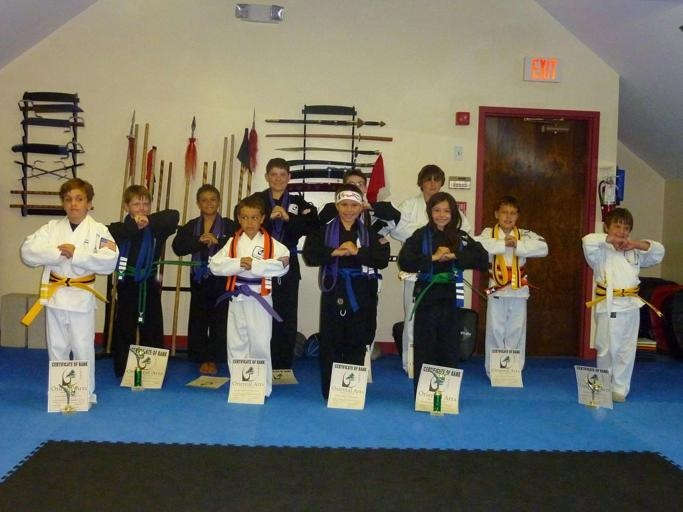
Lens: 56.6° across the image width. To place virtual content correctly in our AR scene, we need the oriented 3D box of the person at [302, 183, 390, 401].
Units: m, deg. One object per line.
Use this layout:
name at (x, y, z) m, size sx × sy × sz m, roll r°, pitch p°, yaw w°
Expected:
person at (0.035, 0.319, 5.430) m, size 0.734 × 1.807 × 0.526 m, roll 0°, pitch 14°, yaw -4°

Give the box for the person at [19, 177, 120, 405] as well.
person at (-2.252, 0.317, 5.259) m, size 0.734 × 1.833 × 0.538 m, roll 2°, pitch 14°, yaw 2°

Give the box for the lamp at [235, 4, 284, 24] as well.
lamp at (-0.905, -2.694, 7.056) m, size 0.532 × 0.202 × 0.081 m, roll 0°, pitch 14°, yaw -5°

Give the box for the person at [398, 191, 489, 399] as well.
person at (0.853, 0.281, 5.413) m, size 0.610 × 1.598 × 0.552 m, roll -9°, pitch 17°, yaw -36°

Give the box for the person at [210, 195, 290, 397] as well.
person at (-0.808, 0.368, 5.515) m, size 0.657 × 1.681 × 0.516 m, roll 2°, pitch 14°, yaw 2°

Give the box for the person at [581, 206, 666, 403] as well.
person at (2.498, 0.427, 5.822) m, size 0.647 × 1.675 × 0.671 m, roll 10°, pitch 16°, yaw 32°
